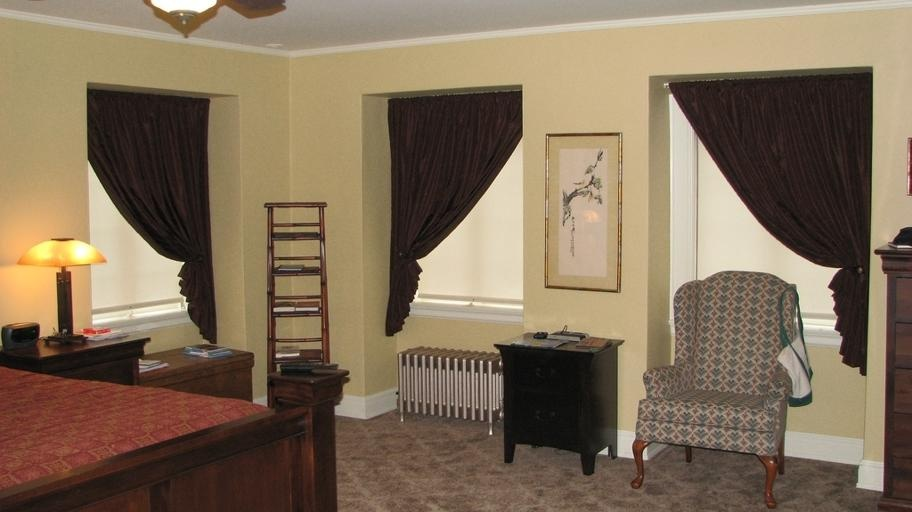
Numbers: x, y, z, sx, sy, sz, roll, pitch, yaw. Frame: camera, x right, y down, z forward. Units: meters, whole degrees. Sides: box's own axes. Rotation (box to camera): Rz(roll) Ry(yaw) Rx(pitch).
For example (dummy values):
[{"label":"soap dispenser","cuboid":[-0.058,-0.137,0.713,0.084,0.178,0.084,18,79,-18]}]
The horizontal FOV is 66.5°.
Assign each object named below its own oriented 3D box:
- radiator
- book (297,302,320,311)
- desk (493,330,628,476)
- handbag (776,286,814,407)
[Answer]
[{"label":"radiator","cuboid":[-0.074,1.559,8.158,1.408,0.809,0.492,-1,0,26]},{"label":"book","cuboid":[-1.684,0.559,7.883,0.255,0.045,0.374,-4,13,-13]},{"label":"desk","cuboid":[1.023,1.461,7.084,1.248,1.253,0.793,2,15,10]},{"label":"handbag","cuboid":[3.223,0.952,6.645,0.333,1.292,0.597,5,16,19]}]
